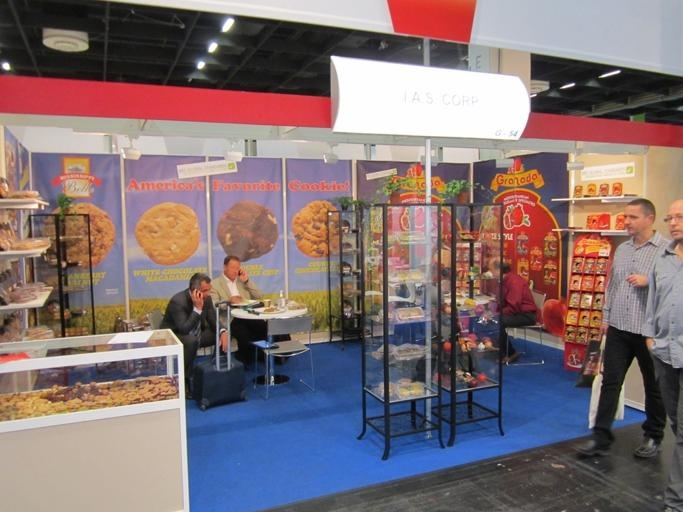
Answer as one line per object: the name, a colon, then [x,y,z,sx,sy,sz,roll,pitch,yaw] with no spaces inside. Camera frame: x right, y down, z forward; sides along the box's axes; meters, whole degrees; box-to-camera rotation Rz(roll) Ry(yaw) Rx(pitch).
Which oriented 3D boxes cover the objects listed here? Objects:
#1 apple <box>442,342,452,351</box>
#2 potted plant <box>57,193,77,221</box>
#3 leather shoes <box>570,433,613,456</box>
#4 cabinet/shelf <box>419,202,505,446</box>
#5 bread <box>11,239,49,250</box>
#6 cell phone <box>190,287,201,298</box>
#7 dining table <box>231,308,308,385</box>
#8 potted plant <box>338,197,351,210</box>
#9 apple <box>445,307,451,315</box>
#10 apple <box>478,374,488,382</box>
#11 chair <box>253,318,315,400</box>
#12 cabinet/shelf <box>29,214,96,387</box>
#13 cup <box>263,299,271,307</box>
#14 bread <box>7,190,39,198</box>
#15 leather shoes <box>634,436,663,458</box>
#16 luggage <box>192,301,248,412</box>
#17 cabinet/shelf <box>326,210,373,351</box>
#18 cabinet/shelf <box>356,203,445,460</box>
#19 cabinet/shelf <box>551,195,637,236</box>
apple: [1.063,0.914,5.582,0.084,0.082,0.086,7,6,43]
potted plant: [-3.883,-0.685,7.791,0.207,0.376,0.469,-6,10,-25]
leather shoes: [2.363,1.786,5.240,0.350,0.156,0.146,1,-3,-13]
cabinet/shelf: [1.380,0.719,6.005,0.768,2.455,0.755,-7,10,-24]
bread: [-3.203,-0.114,5.692,0.320,0.097,0.459,-6,9,-25]
cell phone: [-1.755,0.437,6.643,0.093,0.119,0.117,-5,11,-29]
dining table: [-0.833,1.077,7.015,0.602,1.026,0.721,4,0,-23]
potted plant: [0.079,-0.849,8.978,0.204,0.200,0.205,2,0,20]
apple: [1.073,0.551,5.587,0.078,0.076,0.041,-17,-4,13]
apple: [1.475,1.283,5.816,0.084,0.098,0.083,0,-13,0]
chair: [-0.765,1.199,7.100,0.713,1.009,0.756,0,5,-20]
cabinet/shelf: [-4.002,0.271,8.028,0.466,1.813,0.461,16,19,35]
cup: [-1.002,0.642,7.489,0.091,0.067,0.088,0,3,0]
bread: [-3.170,-0.610,5.505,0.232,0.065,0.303,-5,9,-20]
leather shoes: [2.888,1.796,5.219,0.282,0.117,0.124,-2,-5,-45]
luggage: [-1.506,1.231,6.740,0.639,1.172,0.403,-1,0,-37]
cabinet/shelf: [0.107,0.274,8.938,0.746,2.112,0.755,4,11,39]
cabinet/shelf: [0.566,0.704,5.546,0.893,2.464,0.857,-1,9,6]
cabinet/shelf: [3.670,-0.437,7.824,0.393,0.588,1.539,17,-3,-11]
